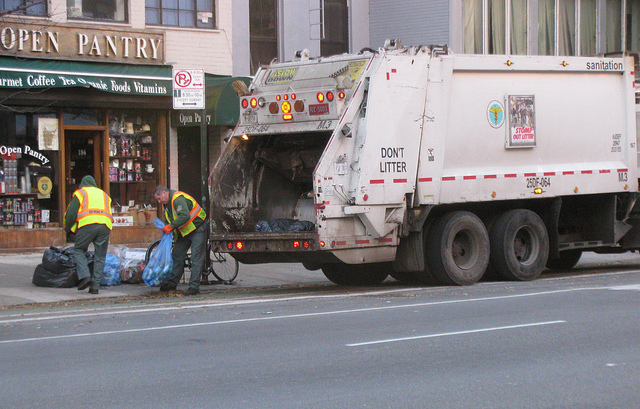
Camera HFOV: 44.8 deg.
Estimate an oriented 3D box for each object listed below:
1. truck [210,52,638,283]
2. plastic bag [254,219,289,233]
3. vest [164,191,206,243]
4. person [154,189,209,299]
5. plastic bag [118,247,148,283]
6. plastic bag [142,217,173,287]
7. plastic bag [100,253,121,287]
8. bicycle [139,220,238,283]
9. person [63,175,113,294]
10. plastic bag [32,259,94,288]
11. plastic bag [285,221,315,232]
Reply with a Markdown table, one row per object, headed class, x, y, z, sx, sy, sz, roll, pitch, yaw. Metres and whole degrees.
| class | x | y | z | sx | sy | sz | roll | pitch | yaw |
| --- | --- | --- | --- | --- | --- | --- | --- | --- | --- |
| truck | 2.032 | -0.711 | 16.334 | 7.398 | 4.047 | 4.366 | -2 | 2 | -30 |
| plastic bag | -0.994 | 0.411 | 15.079 | 0.750 | 0.191 | 0.418 | 1 | 7 | 20 |
| vest | -2.598 | 0.249 | 15.010 | 0.767 | 0.983 | 0.434 | -2 | 6 | -10 |
| person | -2.611 | 0.698 | 14.960 | 0.926 | 1.985 | 0.695 | -1 | 6 | -7 |
| plastic bag | -3.913 | 1.259 | 16.087 | 0.518 | 0.805 | 0.592 | -3 | 3 | -19 |
| plastic bag | -3.052 | 0.997 | 15.216 | 0.675 | 1.357 | 0.656 | 12 | -11 | -11 |
| plastic bag | -4.274 | 1.329 | 15.913 | 0.380 | 0.584 | 0.557 | -1 | 6 | -4 |
| bicycle | -2.622 | 1.016 | 16.161 | 1.989 | 1.292 | 1.003 | 4 | -1 | -34 |
| person | -4.575 | 0.567 | 15.142 | 0.832 | 2.196 | 0.779 | 0 | 6 | 3 |
| plastic bag | -5.245 | 1.411 | 15.449 | 1.003 | 0.437 | 0.292 | 2 | 6 | 22 |
| plastic bag | -0.312 | 0.419 | 14.922 | 0.637 | 0.133 | 0.641 | 3 | 7 | 31 |
